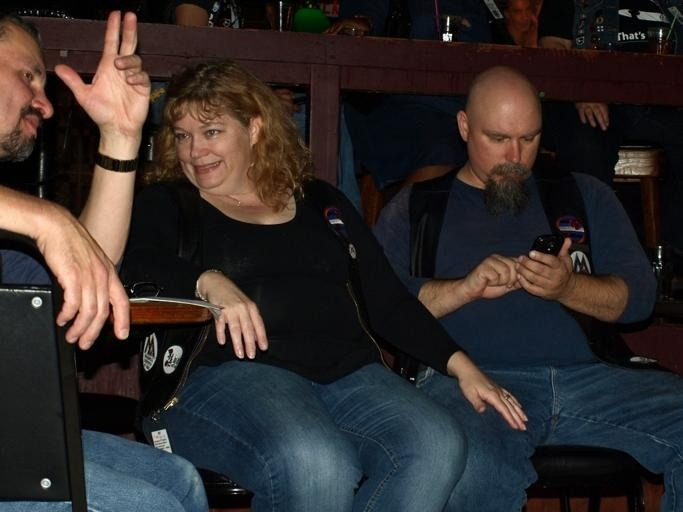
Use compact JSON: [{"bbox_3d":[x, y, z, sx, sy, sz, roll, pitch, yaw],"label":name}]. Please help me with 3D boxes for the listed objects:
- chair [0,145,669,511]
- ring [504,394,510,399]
[{"bbox_3d":[0.213,0.066,2.632,2.454,0.980,0.583,-1,3,-10],"label":"chair"},{"bbox_3d":[0.543,0.466,2.145,0.014,0.007,0.019,4,11,-6],"label":"ring"}]
